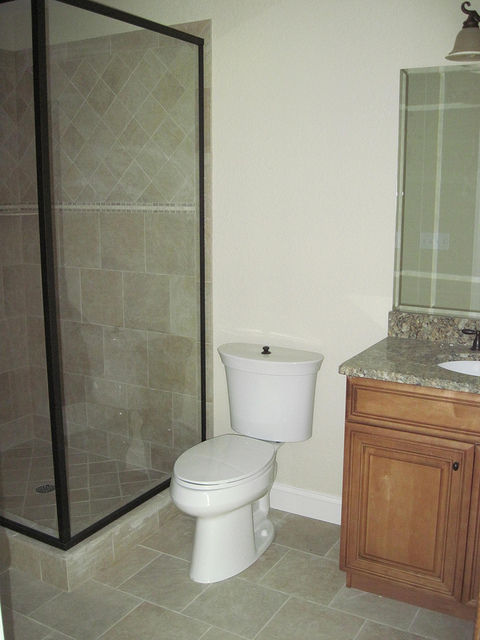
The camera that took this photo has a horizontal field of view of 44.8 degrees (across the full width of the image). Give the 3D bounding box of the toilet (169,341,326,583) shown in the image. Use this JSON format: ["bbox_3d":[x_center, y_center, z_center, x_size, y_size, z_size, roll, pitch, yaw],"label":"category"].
[{"bbox_3d":[-0.010,0.523,2.221,0.388,0.758,0.647,8,12,30],"label":"toilet"}]

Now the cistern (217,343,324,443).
[{"bbox_3d":[0.125,0.259,2.389,0.438,0.373,0.276,5,25,14],"label":"cistern"}]
